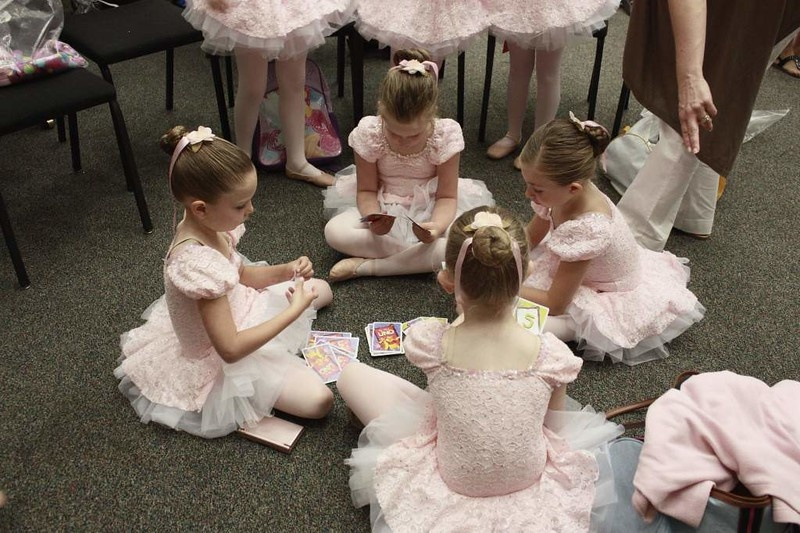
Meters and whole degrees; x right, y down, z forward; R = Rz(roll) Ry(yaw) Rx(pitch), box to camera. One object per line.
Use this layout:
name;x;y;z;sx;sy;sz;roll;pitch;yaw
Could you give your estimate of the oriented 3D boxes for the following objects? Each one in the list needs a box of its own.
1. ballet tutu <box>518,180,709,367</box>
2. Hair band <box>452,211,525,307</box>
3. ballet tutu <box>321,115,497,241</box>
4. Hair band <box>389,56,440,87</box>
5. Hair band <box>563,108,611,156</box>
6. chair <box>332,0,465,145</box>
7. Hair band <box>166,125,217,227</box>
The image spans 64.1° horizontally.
ballet tutu;0.897;0.150;2.840;0.685;0.427;0.820;12;47;20
Hair band;0.232;-0.017;2.050;0.226;0.307;0.301;1;-1;-1
ballet tutu;0.043;-0.366;3.376;0.860;0.872;0.609;0;72;0
Hair band;0.068;-0.878;2.837;0.179;0.092;0.246;6;37;10
Hair band;0.731;-0.520;2.593;0.190;0.071;0.157;48;19;-1
chair;-0.122;-1.292;3.913;0.881;0.698;0.742;-20;47;-21
Hair band;-0.780;-0.310;2.419;0.110;0.409;0.374;2;24;-24
